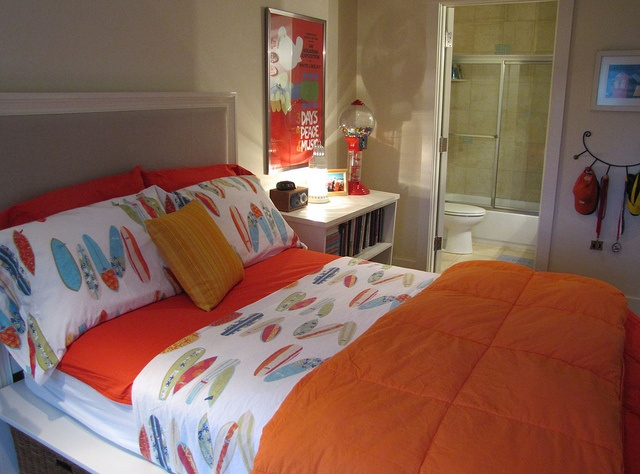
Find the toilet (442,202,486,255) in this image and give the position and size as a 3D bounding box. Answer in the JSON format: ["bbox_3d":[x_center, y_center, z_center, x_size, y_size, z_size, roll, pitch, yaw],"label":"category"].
[{"bbox_3d":[1.624,-0.118,5.195,0.594,0.558,0.540,3,17,17],"label":"toilet"}]

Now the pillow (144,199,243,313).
[{"bbox_3d":[-0.593,0.107,2.103,0.137,0.451,0.475,-30,53,18],"label":"pillow"}]

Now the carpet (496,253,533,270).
[{"bbox_3d":[2.185,0.279,4.823,0.390,0.030,0.364,6,22,23],"label":"carpet"}]

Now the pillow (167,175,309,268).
[{"bbox_3d":[-0.435,-0.119,2.500,0.158,0.550,0.560,-31,-6,27],"label":"pillow"}]

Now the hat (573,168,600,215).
[{"bbox_3d":[2.100,-0.354,3.439,0.101,0.350,0.202,0,15,-7],"label":"hat"}]
